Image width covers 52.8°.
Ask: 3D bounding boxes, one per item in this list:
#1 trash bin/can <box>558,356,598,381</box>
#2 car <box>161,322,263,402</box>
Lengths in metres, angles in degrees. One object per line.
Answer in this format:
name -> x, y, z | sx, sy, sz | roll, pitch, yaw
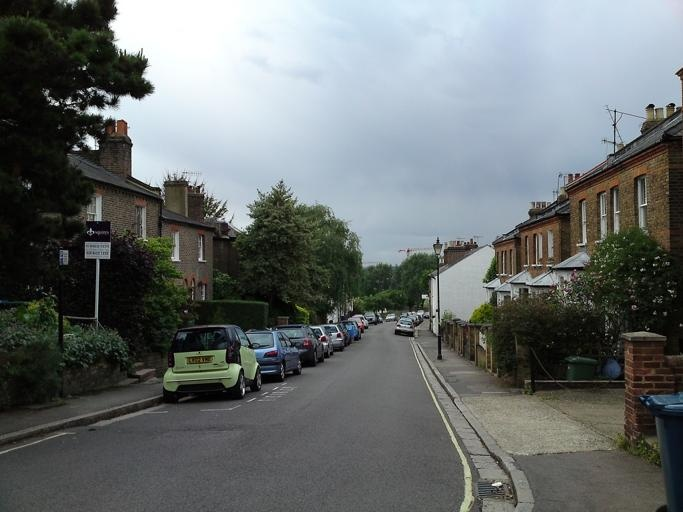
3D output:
trash bin/can -> 6.684, 3.121, 19.199 | 0.687, 0.878, 0.652 | 0, -3, 4
car -> -3.425, 2.861, 19.147 | 1.411, 1.543, 2.804 | -3, -5, 11
